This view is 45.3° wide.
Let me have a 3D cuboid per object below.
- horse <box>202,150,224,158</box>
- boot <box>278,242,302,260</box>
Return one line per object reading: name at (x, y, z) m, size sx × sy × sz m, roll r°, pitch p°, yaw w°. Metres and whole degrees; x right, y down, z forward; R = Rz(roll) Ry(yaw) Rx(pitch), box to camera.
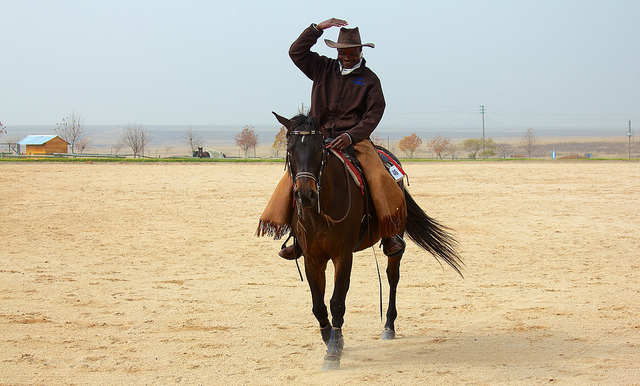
horse at (-14.452, -5.324, 105.258) m, size 1.463 × 0.560 × 1.622 m, roll 14°, pitch -1°, yaw -30°
boot at (-0.839, 1.592, 20.651) m, size 0.745 × 0.304 × 0.320 m, roll 2°, pitch -3°, yaw 40°
